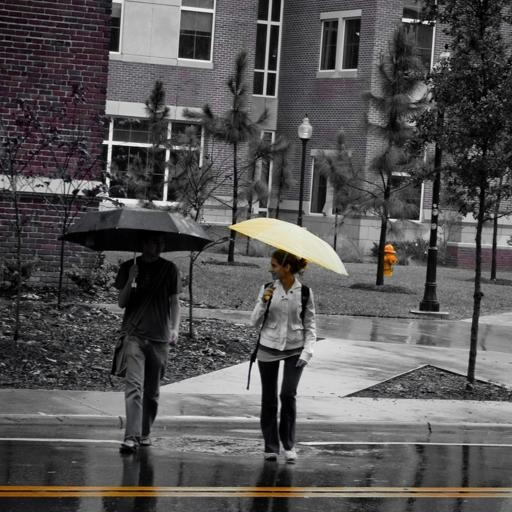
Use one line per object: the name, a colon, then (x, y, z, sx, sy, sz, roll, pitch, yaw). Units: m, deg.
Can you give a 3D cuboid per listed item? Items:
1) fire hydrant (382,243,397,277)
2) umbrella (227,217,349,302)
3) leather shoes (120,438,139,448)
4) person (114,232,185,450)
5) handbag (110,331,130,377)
fire hydrant: (3.631, 0.161, 27.694, 0.307, 0.845, 0.772, -6, 20, -16)
umbrella: (0.289, -0.090, 9.153, 1.117, 0.448, 0.733, 5, 4, 31)
leather shoes: (-1.119, 1.680, 9.054, 0.095, 0.103, 0.237, 2, -10, 2)
person: (-1.028, 0.793, 9.248, 0.372, 1.940, 0.584, 6, 4, 38)
handbag: (-1.247, 0.913, 9.276, 0.127, 0.429, 0.259, 3, 3, -8)
